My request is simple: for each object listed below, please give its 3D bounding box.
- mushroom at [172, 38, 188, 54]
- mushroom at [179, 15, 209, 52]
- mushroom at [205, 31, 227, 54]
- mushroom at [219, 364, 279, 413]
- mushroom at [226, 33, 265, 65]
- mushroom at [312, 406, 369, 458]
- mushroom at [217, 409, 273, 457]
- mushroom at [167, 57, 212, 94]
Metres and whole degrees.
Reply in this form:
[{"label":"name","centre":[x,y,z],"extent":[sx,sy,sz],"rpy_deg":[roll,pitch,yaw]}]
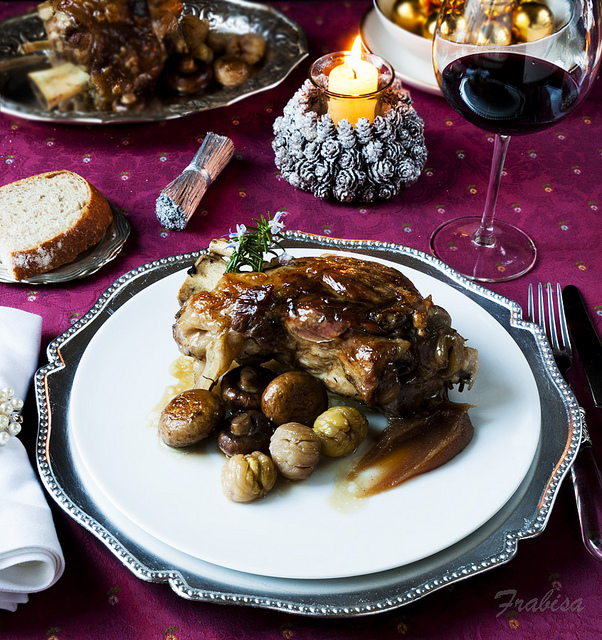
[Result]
[{"label":"mushroom","centre":[-0.378,-0.861,2.096],"extent":[0.031,0.011,0.031],"rpy_deg":[2,57,-1]},{"label":"mushroom","centre":[-0.333,-0.903,2.100],"extent":[0.087,0.050,0.089],"rpy_deg":[-17,84,-8]},{"label":"mushroom","centre":[-0.273,-0.917,2.204],"extent":[0.067,0.040,0.069],"rpy_deg":[-22,66,-21]},{"label":"mushroom","centre":[-0.098,0.131,1.243],"extent":[0.082,0.052,0.079],"rpy_deg":[22,39,32]},{"label":"mushroom","centre":[-0.182,-0.913,2.249],"extent":[0.109,0.072,0.133],"rpy_deg":[17,30,18]},{"label":"mushroom","centre":[0.052,0.182,1.210],"extent":[0.127,0.058,0.088],"rpy_deg":[10,23,16]},{"label":"mushroom","centre":[-0.099,0.198,1.192],"extent":[0.097,0.081,0.103],"rpy_deg":[1,58,-3]},{"label":"mushroom","centre":[-0.349,-0.787,2.186],"extent":[0.138,0.106,0.110],"rpy_deg":[-15,77,-6]}]
